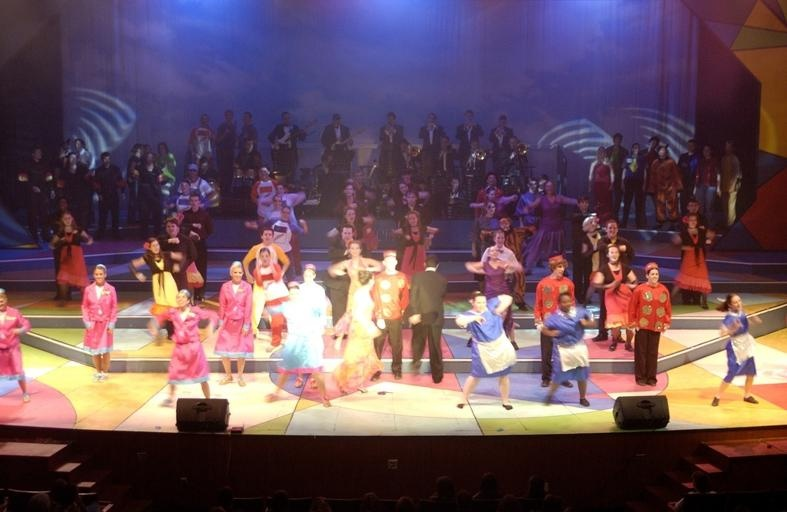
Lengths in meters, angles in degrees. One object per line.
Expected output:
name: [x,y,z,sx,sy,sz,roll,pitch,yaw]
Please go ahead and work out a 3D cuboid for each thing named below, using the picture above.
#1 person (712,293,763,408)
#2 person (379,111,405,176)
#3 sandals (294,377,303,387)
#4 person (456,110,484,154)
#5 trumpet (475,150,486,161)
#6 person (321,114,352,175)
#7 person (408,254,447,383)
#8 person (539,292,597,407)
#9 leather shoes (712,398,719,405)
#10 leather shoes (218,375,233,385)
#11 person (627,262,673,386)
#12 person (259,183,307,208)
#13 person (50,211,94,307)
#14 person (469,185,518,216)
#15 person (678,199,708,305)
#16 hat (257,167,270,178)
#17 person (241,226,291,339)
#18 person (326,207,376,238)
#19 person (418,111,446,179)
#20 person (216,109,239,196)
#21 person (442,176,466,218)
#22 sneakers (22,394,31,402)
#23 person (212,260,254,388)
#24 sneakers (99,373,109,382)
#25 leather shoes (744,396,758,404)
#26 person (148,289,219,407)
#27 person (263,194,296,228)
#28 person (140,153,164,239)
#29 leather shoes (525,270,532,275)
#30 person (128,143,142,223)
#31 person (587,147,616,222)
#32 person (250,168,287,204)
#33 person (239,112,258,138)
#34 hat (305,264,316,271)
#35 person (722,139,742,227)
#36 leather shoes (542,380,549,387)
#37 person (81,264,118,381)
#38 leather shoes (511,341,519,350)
person: [5.816,1.591,12.021,0.594,1.891,0.868,-1,0,42]
person: [-0.057,-2.890,19.268,0.734,1.512,0.665,-1,0,0]
sandals: [-1.649,2.227,12.335,0.121,0.086,0.212,1,-1,-5]
person: [2.112,-3.460,19.664,0.654,0.986,0.576,-1,0,-12]
trumpet: [2.420,-2.815,19.542,0.392,0.256,0.117,-1,0,-27]
person: [-1.518,-2.841,19.105,0.810,1.948,0.663,-1,32,-7]
person: [0.635,1.142,12.712,0.645,1.896,0.449,-1,0,-3]
person: [2.889,1.579,11.734,0.826,1.404,0.496,-1,0,11]
leather shoes: [5.438,2.472,11.901,0.178,0.098,0.084,-1,0,-16]
leather shoes: [-2.967,2.212,12.489,0.238,0.088,0.118,0,7,-6]
person: [4.507,1.222,12.424,0.695,1.508,0.398,-1,0,12]
person: [-2.741,-1.468,17.224,1.085,1.104,0.348,-1,3,0]
person: [-6.960,0.023,15.164,0.898,2.017,0.498,-1,0,26]
person: [2.580,-1.426,17.963,1.079,1.129,0.389,0,12,1]
person: [6.303,-0.050,14.889,0.726,1.520,0.762,-1,0,21]
hat: [-3.153,-2.053,17.219,0.210,0.260,0.733,-1,0,-15]
person: [-2.459,0.511,13.509,0.947,2.093,0.607,1,11,-10]
person: [-0.912,-0.744,15.701,0.850,0.991,0.343,-11,12,-19]
person: [1.076,-2.967,19.393,0.710,1.506,0.458,-1,0,2]
person: [-4.642,-2.870,19.654,0.613,2.241,0.620,-1,0,-13]
person: [1.674,-1.624,19.571,0.794,1.000,0.372,3,1,11]
sneakers: [-6.179,2.394,11.886,0.105,0.123,0.140,-1,0,-27]
person: [-2.818,1.206,12.491,0.666,2.067,0.637,-1,0,-13]
sneakers: [-5.137,2.163,12.499,0.155,0.106,0.277,0,-4,-16]
leather shoes: [6.084,2.475,12.009,0.199,0.080,0.105,-1,4,-1]
person: [-3.515,1.544,11.826,1.081,1.894,0.496,-1,0,17]
person: [-2.736,-1.026,16.298,0.587,0.907,0.873,4,25,-3]
person: [-6.415,-1.644,18.591,0.571,2.204,0.414,-1,0,-19]
leather shoes: [3.209,0.397,16.676,0.150,0.134,0.092,-1,0,-17]
person: [-6.971,-1.949,19.074,0.396,2.102,1.516,-1,0,-21]
person: [5.391,-1.838,18.252,0.558,1.365,0.458,-1,0,14]
person: [-3.109,-1.617,17.333,0.801,0.944,0.530,-9,6,-11]
person: [-4.008,-3.652,19.520,0.393,0.706,0.717,-1,0,-16]
hat: [-1.440,0.193,12.187,0.262,0.110,0.352,1,2,-2]
person: [8.675,-1.846,18.136,0.496,1.365,0.576,-1,0,29]
leather shoes: [2.687,2.253,12.435,0.124,0.047,0.165,0,6,4]
person: [-5.219,1.182,12.545,0.532,2.095,0.424,-1,0,-24]
leather shoes: [2.298,1.682,13.414,0.160,0.210,0.079,16,-42,-43]
